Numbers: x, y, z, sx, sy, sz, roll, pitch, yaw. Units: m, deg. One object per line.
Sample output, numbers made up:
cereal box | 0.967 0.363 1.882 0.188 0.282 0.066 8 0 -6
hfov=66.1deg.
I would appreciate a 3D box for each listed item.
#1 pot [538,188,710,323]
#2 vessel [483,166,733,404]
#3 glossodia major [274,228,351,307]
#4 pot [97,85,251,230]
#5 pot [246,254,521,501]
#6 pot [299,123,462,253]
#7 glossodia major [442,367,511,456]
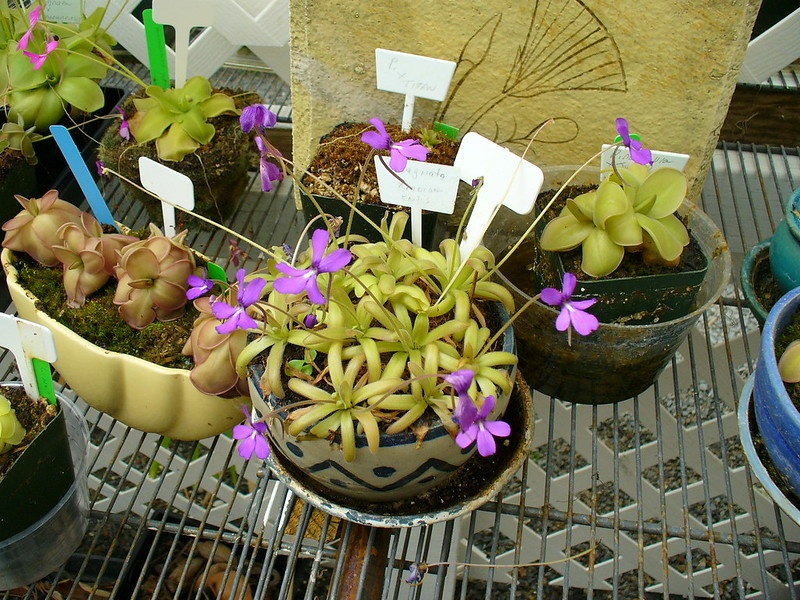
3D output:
pot | 0.435 -0.065 1.126 0.265 0.115 0.216 -6 71 -4
vessel | 0.409 0.060 1.389 0.461 0.346 0.519 14 49 4
glossodia major | -0.131 -0.036 0.899 0.104 0.099 0.106 19 34 12
pot | -0.550 -0.333 1.697 0.380 0.364 0.376 2 57 -3
pot | -0.035 0.151 0.992 0.288 0.195 0.317 5 23 -2
pot | -0.111 -0.292 1.413 0.297 0.117 0.320 -1 57 2
glossodia major | 0.105 0.167 0.886 0.035 0.145 0.079 5 32 43
